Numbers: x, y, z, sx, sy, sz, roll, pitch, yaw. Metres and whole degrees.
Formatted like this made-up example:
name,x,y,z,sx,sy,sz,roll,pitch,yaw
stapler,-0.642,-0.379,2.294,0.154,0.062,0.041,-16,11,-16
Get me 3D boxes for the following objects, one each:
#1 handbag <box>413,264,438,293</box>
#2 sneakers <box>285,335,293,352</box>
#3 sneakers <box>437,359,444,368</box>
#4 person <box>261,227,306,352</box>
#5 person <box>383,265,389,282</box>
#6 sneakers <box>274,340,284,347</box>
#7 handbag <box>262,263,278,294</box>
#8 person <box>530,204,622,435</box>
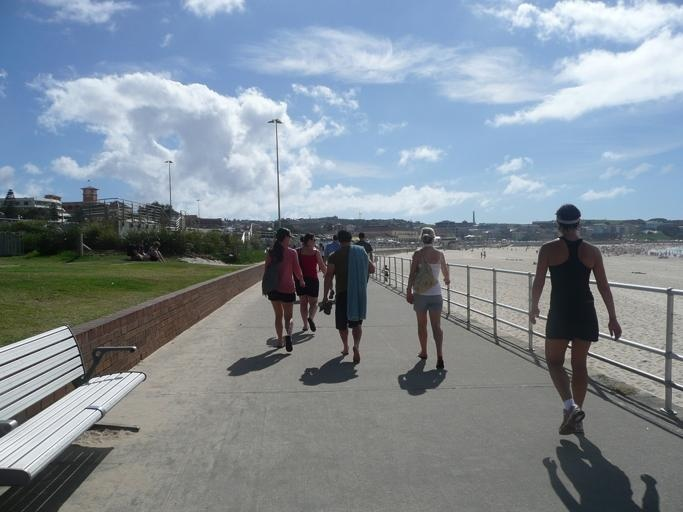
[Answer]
name,x,y,z,sx,sy,sz,roll,pitch,yaw
handbag,1.195,0.318,6.620,0.333,0.451,0.177,-4,-1,14
sneakers,-0.851,1.401,7.507,0.107,0.265,0.106,-3,-5,8
sneakers,1.378,1.480,6.502,0.113,0.137,0.175,0,2,9
person,-1.004,0.549,7.800,0.573,2.013,0.814,0,2,6
person,2.152,0.866,22.296,0.225,0.710,0.931,0,2,5
sneakers,-1.061,1.496,7.980,0.105,0.174,0.149,11,-18,-31
handbag,-1.167,0.354,7.619,0.275,0.550,0.172,0,2,19
person,2.212,0.569,4.498,0.823,2.127,1.176,1,3,32
